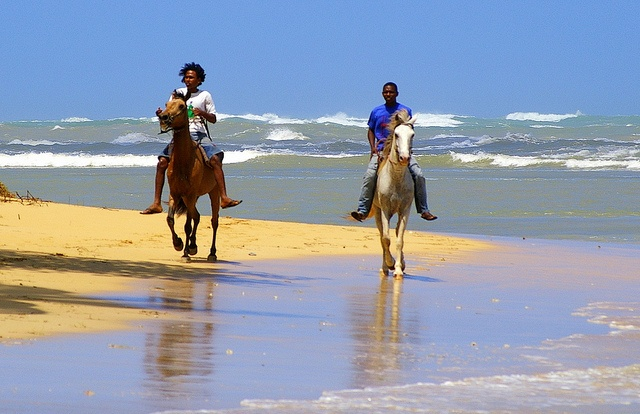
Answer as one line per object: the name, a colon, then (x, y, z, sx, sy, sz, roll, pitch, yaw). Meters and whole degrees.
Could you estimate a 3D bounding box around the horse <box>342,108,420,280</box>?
horse: (1.412, -0.290, 15.848, 0.825, 3.211, 2.149, 3, 5, 4)

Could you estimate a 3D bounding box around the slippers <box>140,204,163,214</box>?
slippers: (-3.316, 0.043, 15.904, 0.625, 0.211, 0.204, 2, 2, -1)

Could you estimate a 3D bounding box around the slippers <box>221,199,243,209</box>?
slippers: (-1.794, -0.098, 16.552, 0.336, 0.187, 0.269, 2, 5, -10)

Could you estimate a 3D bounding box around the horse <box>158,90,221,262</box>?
horse: (-2.552, -0.567, 16.312, 1.069, 3.416, 2.722, 3, 5, -2)

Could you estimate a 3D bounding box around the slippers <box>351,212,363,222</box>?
slippers: (0.761, 0.184, 16.536, 0.256, 0.104, 0.332, 5, 1, -1)
